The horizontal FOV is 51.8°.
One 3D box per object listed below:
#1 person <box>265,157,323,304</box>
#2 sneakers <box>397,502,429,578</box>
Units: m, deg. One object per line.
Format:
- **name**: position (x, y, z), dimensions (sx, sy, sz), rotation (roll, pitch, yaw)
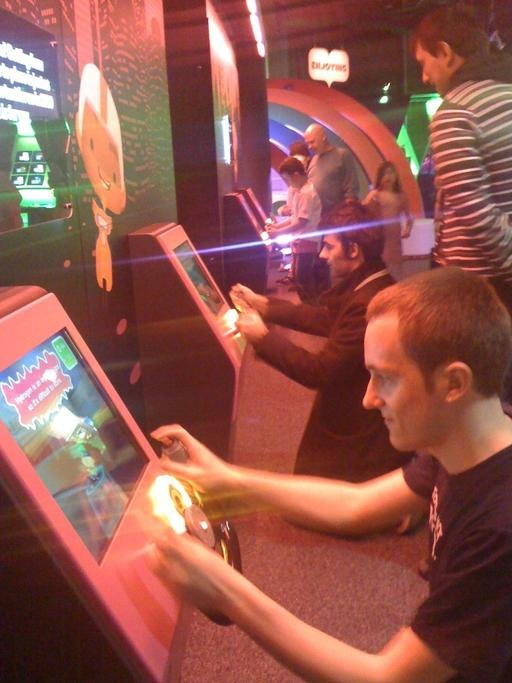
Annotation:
- **person**: position (0.433, -1.070, 5.625), dimensions (0.562, 1.677, 0.554), rotation (-7, 23, -5)
- **sneakers**: position (0.343, 0.431, 1.125), dimensions (0.041, 0.116, 0.078), rotation (11, -9, -35)
